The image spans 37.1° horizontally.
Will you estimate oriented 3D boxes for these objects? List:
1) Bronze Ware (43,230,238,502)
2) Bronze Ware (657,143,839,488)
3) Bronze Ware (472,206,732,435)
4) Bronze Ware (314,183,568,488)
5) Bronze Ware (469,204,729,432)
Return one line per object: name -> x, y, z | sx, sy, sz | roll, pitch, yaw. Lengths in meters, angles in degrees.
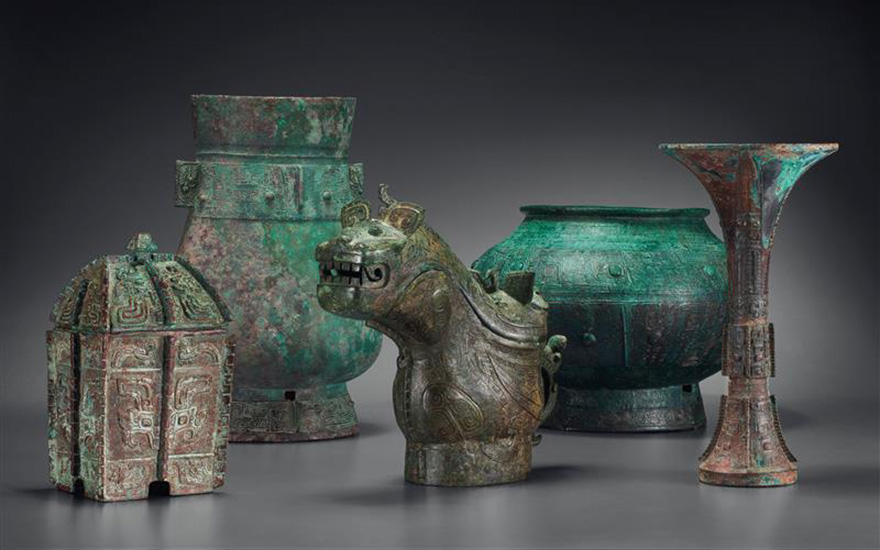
Bronze Ware -> -1.232, 0.375, 5.395 | 0.749, 1.076, 0.329 | -3, 11, -15
Bronze Ware -> 1.299, 0.173, 5.534 | 0.650, 1.449, 0.388 | 2, 11, 12
Bronze Ware -> 0.980, 0.216, 7.107 | 1.759, 1.069, 1.656 | 0, 2, -40
Bronze Ware -> 0.006, 0.298, 5.775 | 0.662, 1.197, 1.599 | -3, -8, 43
Bronze Ware -> 1.089, 0.193, 7.089 | 1.719, 1.038, 1.621 | -7, 6, -39
